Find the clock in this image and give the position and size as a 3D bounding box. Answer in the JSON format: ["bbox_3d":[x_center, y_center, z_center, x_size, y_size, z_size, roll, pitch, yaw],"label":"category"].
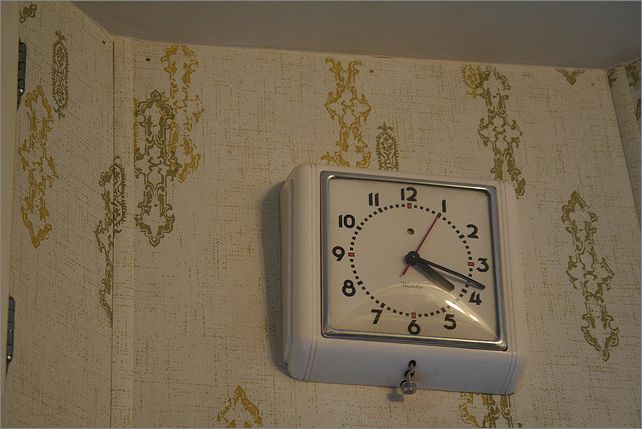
[{"bbox_3d":[0.250,0.131,2.567,0.633,0.205,0.617,0,75,-9],"label":"clock"}]
